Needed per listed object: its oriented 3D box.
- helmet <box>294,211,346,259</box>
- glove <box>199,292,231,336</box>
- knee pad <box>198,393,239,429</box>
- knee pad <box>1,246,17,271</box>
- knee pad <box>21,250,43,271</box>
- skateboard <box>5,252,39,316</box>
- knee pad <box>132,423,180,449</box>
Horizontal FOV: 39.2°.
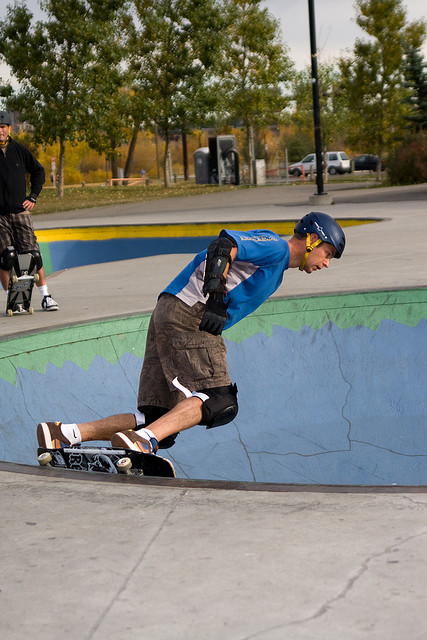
[{"bbox_3d":[0.447,-0.396,2.542,0.241,0.134,0.165,21,14,21],"label":"helmet"},{"bbox_3d":[0.004,-0.028,2.286,0.103,0.154,0.058,14,-13,-17],"label":"glove"},{"bbox_3d":[0.015,0.371,2.472,0.187,0.143,0.078,-7,7,-37],"label":"knee pad"},{"bbox_3d":[-2.014,-0.615,5.904,0.103,0.263,0.110,16,8,15],"label":"knee pad"},{"bbox_3d":[-1.843,-0.607,6.045,0.135,0.197,0.191,-3,17,-5],"label":"knee pad"},{"bbox_3d":[-1.947,-0.370,6.039,0.360,0.623,0.301,-5,6,-14],"label":"skateboard"},{"bbox_3d":[-0.286,0.509,2.694,0.121,0.081,0.261,14,-6,-44],"label":"knee pad"}]
